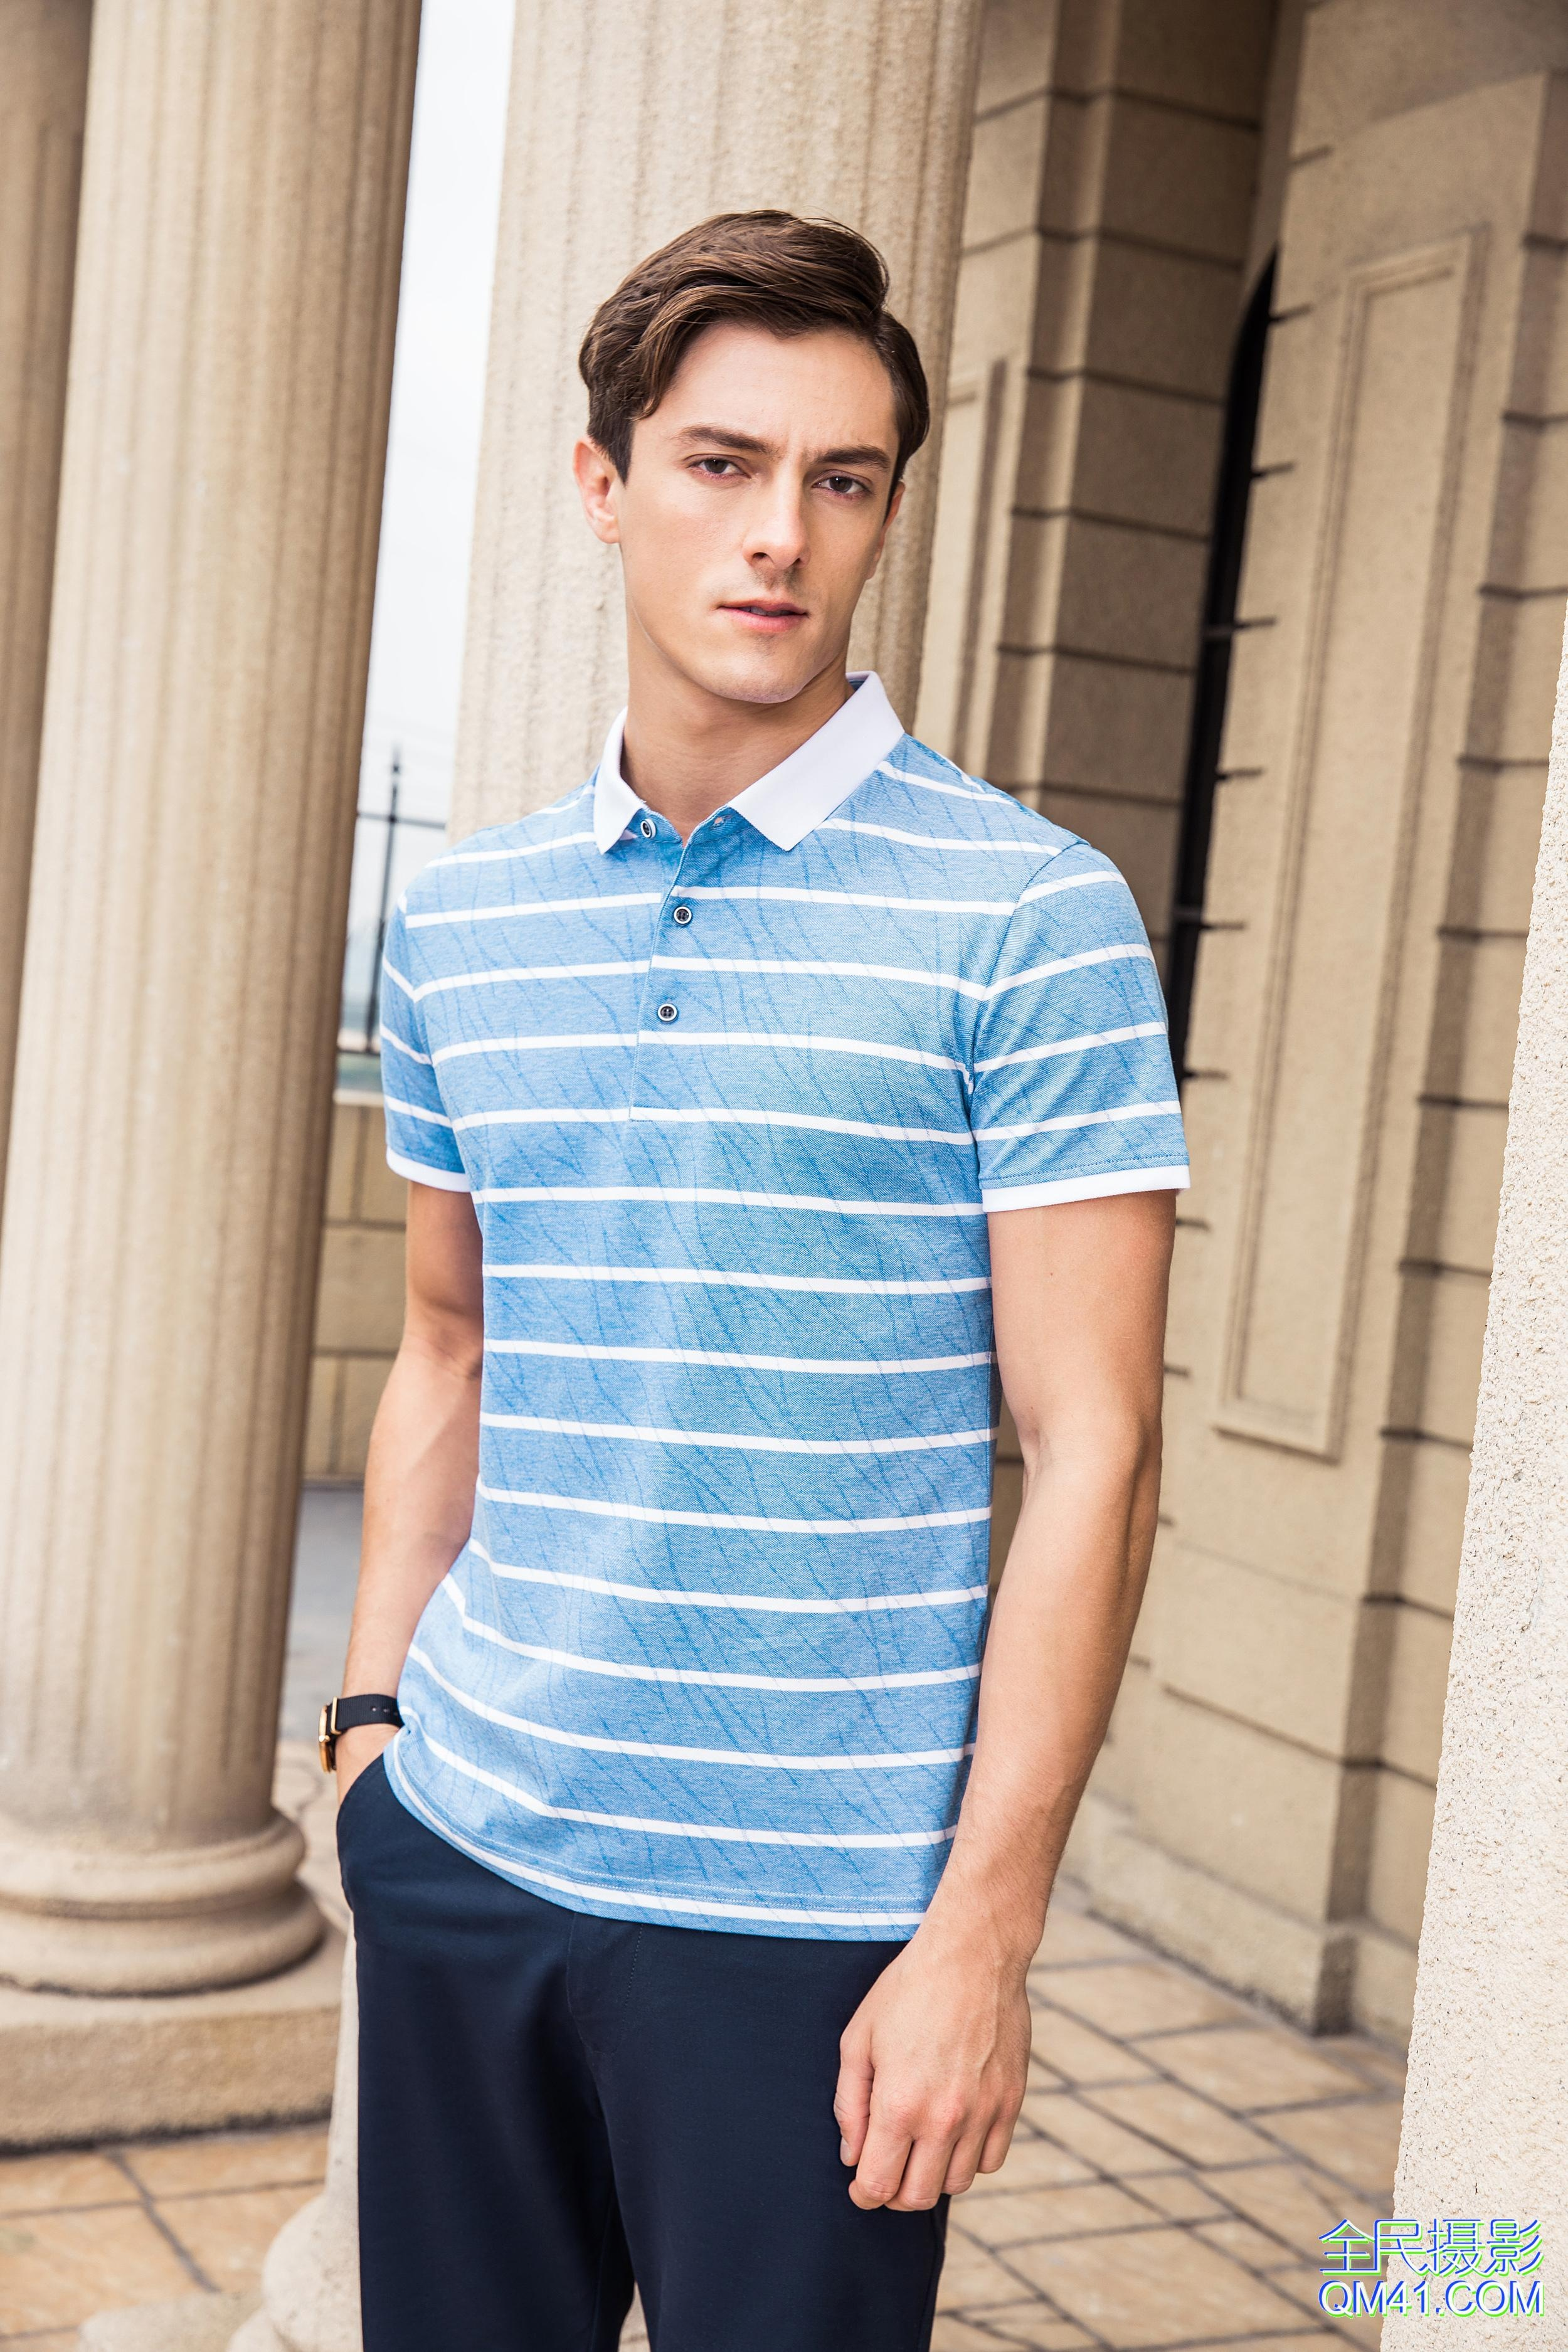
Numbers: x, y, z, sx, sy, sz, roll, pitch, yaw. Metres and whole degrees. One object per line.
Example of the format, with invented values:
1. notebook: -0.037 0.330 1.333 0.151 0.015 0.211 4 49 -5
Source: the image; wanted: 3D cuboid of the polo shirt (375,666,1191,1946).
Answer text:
1. polo shirt: -0.028 0.066 1.460 0.583 0.773 0.175 6 -1 30
